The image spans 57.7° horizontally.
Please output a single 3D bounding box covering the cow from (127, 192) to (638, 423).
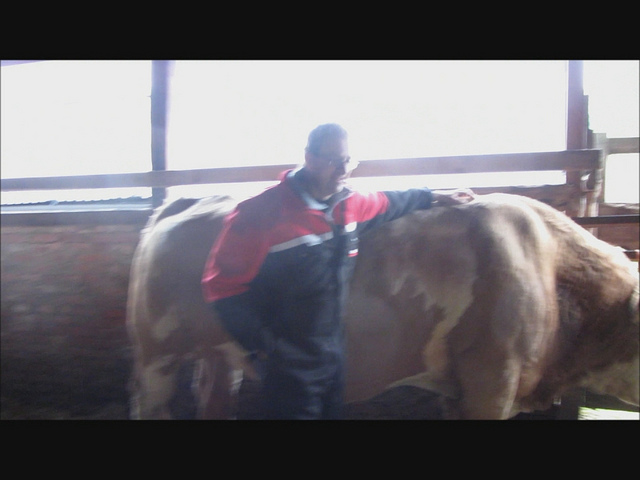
[{"bbox_3d":[0.058,0.280,4.457,4.016,2.415,1.156,0,3,3],"label":"cow"}]
